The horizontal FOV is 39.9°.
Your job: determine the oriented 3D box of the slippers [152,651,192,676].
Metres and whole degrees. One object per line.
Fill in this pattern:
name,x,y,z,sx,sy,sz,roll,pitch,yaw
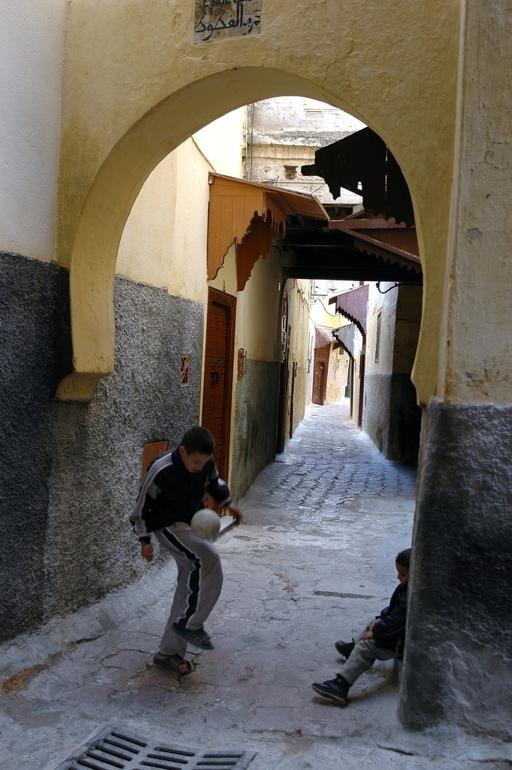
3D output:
slippers,-0.432,1.386,3.568,0.192,0.084,0.081,6,15,27

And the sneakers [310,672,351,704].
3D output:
sneakers,0.343,1.410,3.270,0.168,0.105,0.150,2,-1,8

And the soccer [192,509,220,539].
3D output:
soccer,-0.258,0.691,3.502,0.120,0.108,0.105,-25,10,28

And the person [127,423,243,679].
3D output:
person,-0.327,0.866,3.630,0.514,1.320,0.470,-3,4,-37

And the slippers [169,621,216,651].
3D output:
slippers,-0.309,1.250,3.548,0.240,0.111,0.099,22,12,11
